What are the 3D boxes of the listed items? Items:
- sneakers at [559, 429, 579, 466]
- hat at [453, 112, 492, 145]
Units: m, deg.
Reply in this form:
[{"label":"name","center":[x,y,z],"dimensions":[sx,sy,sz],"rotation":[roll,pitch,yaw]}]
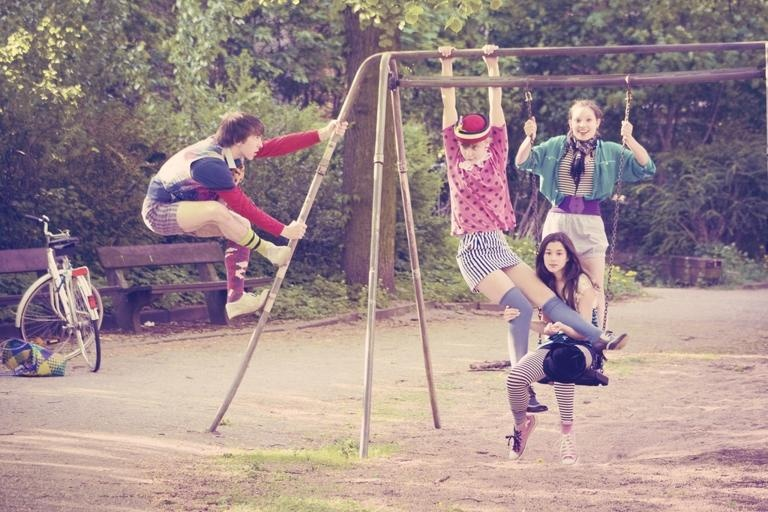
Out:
[{"label":"sneakers","center":[2.174,2.281,12.744],"dimensions":[0.162,0.161,0.426],"rotation":[-2,17,8]},{"label":"hat","center":[1.093,-1.576,13.324],"dimensions":[0.443,0.336,0.270],"rotation":[2,14,2]}]
